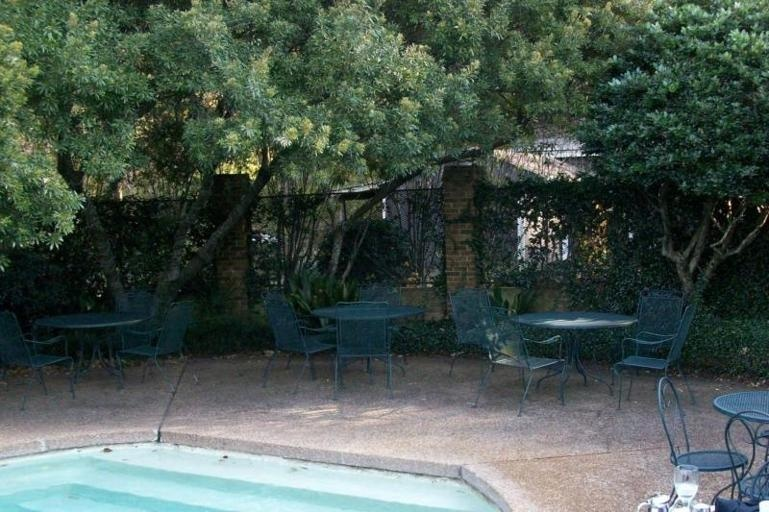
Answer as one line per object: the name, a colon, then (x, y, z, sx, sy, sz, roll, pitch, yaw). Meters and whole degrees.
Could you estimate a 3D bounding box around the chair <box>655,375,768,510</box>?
chair: (3.065, 1.736, 9.082, 0.978, 1.232, 2.068, 3, 10, 14)
